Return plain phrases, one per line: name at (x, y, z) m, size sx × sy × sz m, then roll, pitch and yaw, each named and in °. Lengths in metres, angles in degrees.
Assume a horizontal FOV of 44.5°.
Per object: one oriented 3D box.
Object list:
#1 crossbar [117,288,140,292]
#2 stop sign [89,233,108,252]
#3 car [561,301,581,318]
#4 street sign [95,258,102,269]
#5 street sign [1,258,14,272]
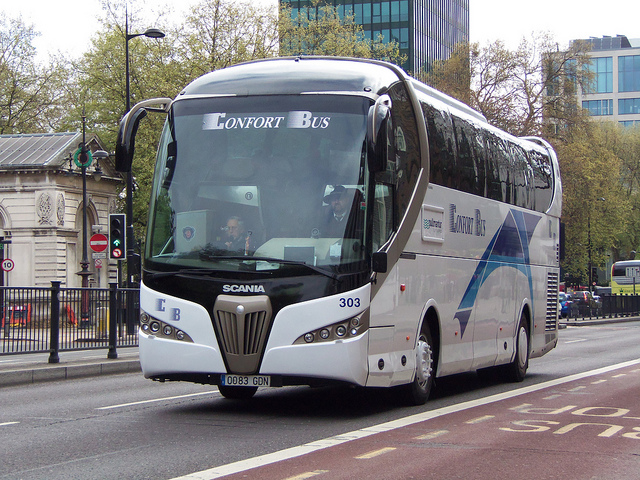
crossbar at (-4.654, 1.228, 19.158) m, size 0.398 × 0.082 × 0.884 m, roll 4°, pitch -2°, yaw 1°
stop sign at (-6.374, 0.090, 22.581) m, size 0.447 × 0.499 × 0.481 m, roll 5°, pitch -2°, yaw -20°
car at (16.716, 4.672, 52.565) m, size 0.859 × 0.903 × 1.982 m, roll -1°, pitch -8°, yaw 20°
street sign at (-7.025, 0.728, 24.882) m, size 0.193 × 0.301 × 2.733 m, roll 4°, pitch -2°, yaw -16°
street sign at (-14.586, 1.176, 36.660) m, size 0.493 × 0.572 × 0.689 m, roll 5°, pitch -2°, yaw -26°
